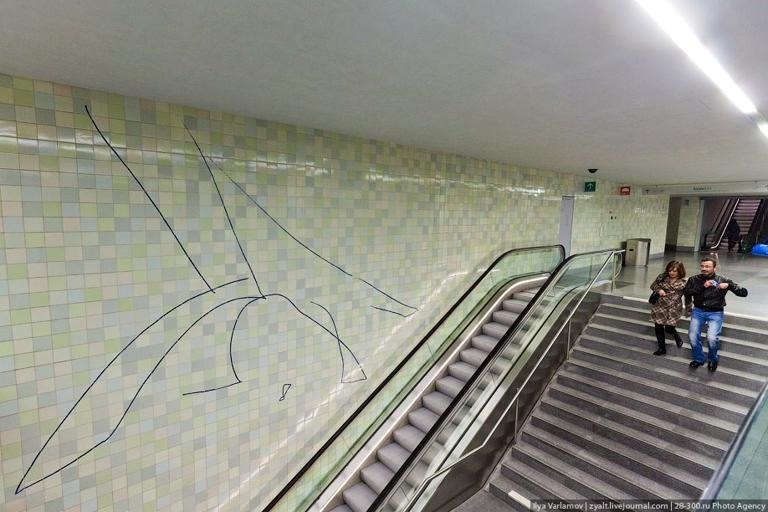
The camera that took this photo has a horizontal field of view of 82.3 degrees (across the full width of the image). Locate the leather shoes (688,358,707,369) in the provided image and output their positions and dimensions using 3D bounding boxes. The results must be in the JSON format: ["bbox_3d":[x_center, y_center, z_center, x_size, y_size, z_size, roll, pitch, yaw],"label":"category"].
[{"bbox_3d":[4.763,1.630,6.685,0.253,0.103,0.097,-8,6,-11],"label":"leather shoes"}]

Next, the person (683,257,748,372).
[{"bbox_3d":[4.857,0.862,6.610,0.650,1.650,0.469,10,13,38],"label":"person"}]

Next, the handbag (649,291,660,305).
[{"bbox_3d":[4.404,0.686,7.150,0.161,0.131,0.180,-16,6,38],"label":"handbag"}]

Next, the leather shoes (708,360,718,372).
[{"bbox_3d":[4.896,1.626,6.512,0.137,0.171,0.111,4,11,15],"label":"leather shoes"}]

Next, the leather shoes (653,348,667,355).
[{"bbox_3d":[4.377,1.512,7.009,0.211,0.144,0.084,3,6,26],"label":"leather shoes"}]

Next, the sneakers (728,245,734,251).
[{"bbox_3d":[14.031,-0.308,17.775,0.233,0.219,0.077,-10,-14,11],"label":"sneakers"}]

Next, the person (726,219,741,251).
[{"bbox_3d":[14.195,-0.907,17.927,0.800,1.261,0.539,-7,13,-38],"label":"person"}]

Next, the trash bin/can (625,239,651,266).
[{"bbox_3d":[7.033,-0.093,12.223,0.718,0.629,0.401,-8,10,-34],"label":"trash bin/can"}]
